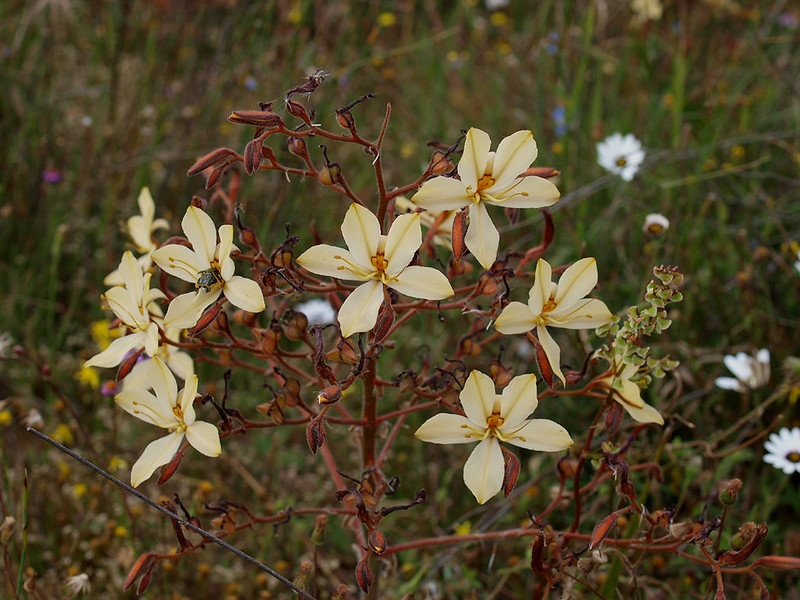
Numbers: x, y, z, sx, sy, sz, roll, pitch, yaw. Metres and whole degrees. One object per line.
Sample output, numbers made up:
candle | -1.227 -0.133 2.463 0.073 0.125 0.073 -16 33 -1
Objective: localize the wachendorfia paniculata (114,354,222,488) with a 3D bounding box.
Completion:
wachendorfia paniculata | -1.001 0.478 4.121 0.421 0.252 0.684 -1 89 32

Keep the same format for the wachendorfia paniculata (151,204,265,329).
wachendorfia paniculata | -0.825 -0.134 4.041 0.494 0.263 0.423 -10 59 13

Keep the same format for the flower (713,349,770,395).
flower | 1.794 0.395 5.039 0.226 0.130 0.297 -9 57 30

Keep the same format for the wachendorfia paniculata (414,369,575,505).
wachendorfia paniculata | 0.451 0.641 4.531 0.554 0.274 0.823 -1 85 11
